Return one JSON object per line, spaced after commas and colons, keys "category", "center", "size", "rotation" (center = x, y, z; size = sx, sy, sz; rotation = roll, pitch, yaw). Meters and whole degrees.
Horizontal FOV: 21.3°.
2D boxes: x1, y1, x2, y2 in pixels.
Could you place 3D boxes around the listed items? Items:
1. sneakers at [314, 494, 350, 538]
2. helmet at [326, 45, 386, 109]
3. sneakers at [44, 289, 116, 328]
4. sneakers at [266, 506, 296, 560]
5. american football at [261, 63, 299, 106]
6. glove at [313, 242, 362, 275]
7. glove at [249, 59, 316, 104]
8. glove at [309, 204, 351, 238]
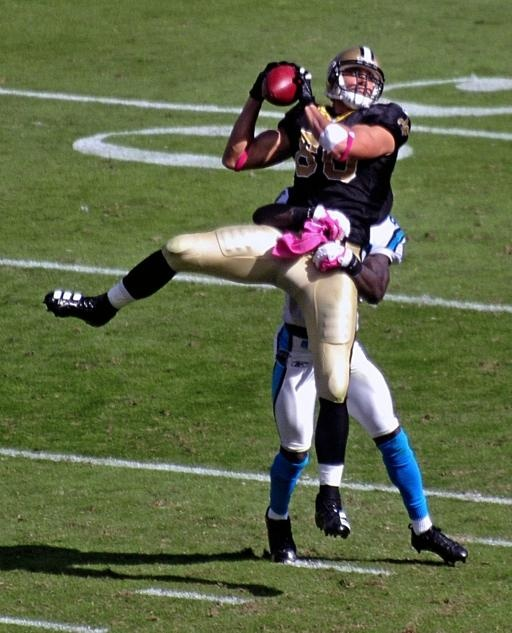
{"category": "sneakers", "center": [0.394, 1.088, 7.370], "size": [0.122, 0.145, 0.310], "rotation": [-7, 4, -21]}
{"category": "helmet", "center": [0.561, -1.382, 7.812], "size": [0.342, 0.322, 0.386], "rotation": [8, 5, -12]}
{"category": "sneakers", "center": [-1.096, -0.041, 8.560], "size": [0.364, 0.105, 0.234], "rotation": [11, 6, -2]}
{"category": "sneakers", "center": [0.138, 1.274, 8.017], "size": [0.119, 0.292, 0.140], "rotation": [-11, -4, 16]}
{"category": "american football", "center": [0.162, -1.305, 7.681], "size": [0.253, 0.134, 0.179], "rotation": [-16, -18, -36]}
{"category": "glove", "center": [0.432, -0.312, 7.437], "size": [0.262, 0.192, 0.130], "rotation": [2, 15, -1]}
{"category": "glove", "center": [0.163, -1.292, 7.684], "size": [0.315, 0.148, 0.296], "rotation": [-20, 46, -39]}
{"category": "glove", "center": [0.410, -0.536, 7.487], "size": [0.215, 0.078, 0.169], "rotation": [30, 22, 31]}
